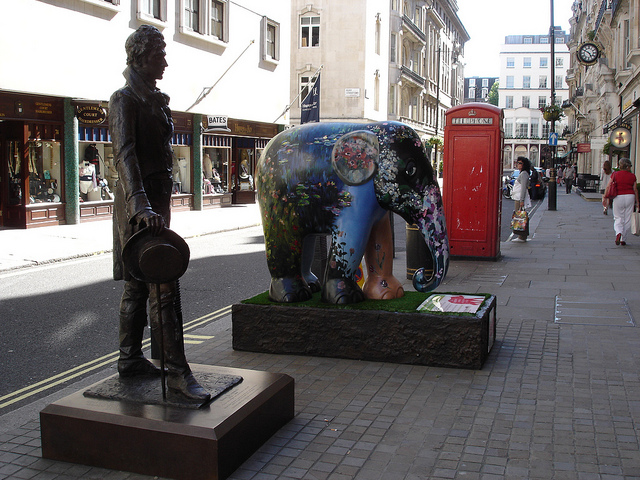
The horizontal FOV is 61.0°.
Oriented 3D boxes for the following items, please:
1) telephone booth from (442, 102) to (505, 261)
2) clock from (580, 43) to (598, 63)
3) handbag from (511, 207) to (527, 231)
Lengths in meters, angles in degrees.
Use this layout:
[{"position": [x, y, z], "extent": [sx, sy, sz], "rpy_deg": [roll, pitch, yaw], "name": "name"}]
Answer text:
[{"position": [3.323, -1.270, 12.057], "extent": [1.223, 3.510, 1.327], "rpy_deg": [3, 5, 26], "name": "telephone booth"}, {"position": [16.081, -11.265, 32.695], "extent": [0.928, 1.394, 1.350], "rpy_deg": [3, 6, 35], "name": "clock"}, {"position": [5.513, -0.525, 15.047], "extent": [0.369, 0.533, 0.492], "rpy_deg": [2, 6, 23], "name": "handbag"}]
